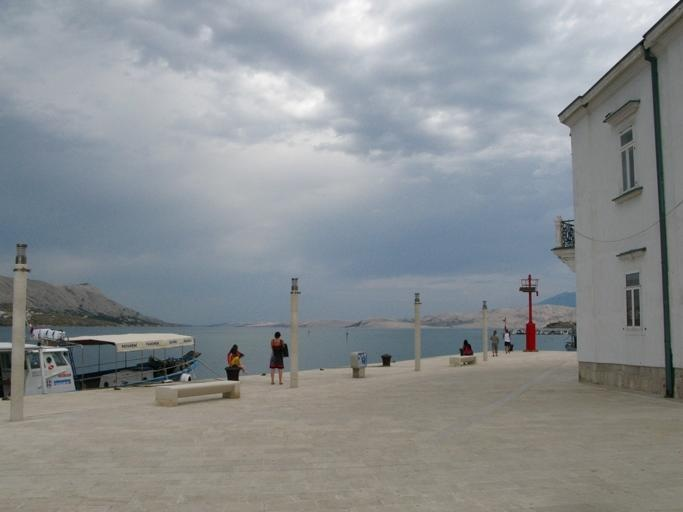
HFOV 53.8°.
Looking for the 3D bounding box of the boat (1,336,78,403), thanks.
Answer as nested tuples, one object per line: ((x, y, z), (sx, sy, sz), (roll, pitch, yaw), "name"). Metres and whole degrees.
((-12.386, 4.550, 27.472), (3.446, 2.184, 2.243), (3, -6, -42), "boat")

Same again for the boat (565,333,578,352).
((17.395, 6.436, 50.687), (0.666, 1.520, 14.410), (-6, -11, 18), "boat")

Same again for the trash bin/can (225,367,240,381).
((-4.308, 4.595, 26.482), (0.553, 0.507, 0.565), (-8, -10, 42), "trash bin/can")

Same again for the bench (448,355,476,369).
((6.410, 5.477, 35.294), (1.595, 0.486, 0.687), (5, -13, -38), "bench")

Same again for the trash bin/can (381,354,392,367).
((2.499, 5.593, 36.044), (0.615, 0.700, 0.630), (2, -11, -11), "trash bin/can")
